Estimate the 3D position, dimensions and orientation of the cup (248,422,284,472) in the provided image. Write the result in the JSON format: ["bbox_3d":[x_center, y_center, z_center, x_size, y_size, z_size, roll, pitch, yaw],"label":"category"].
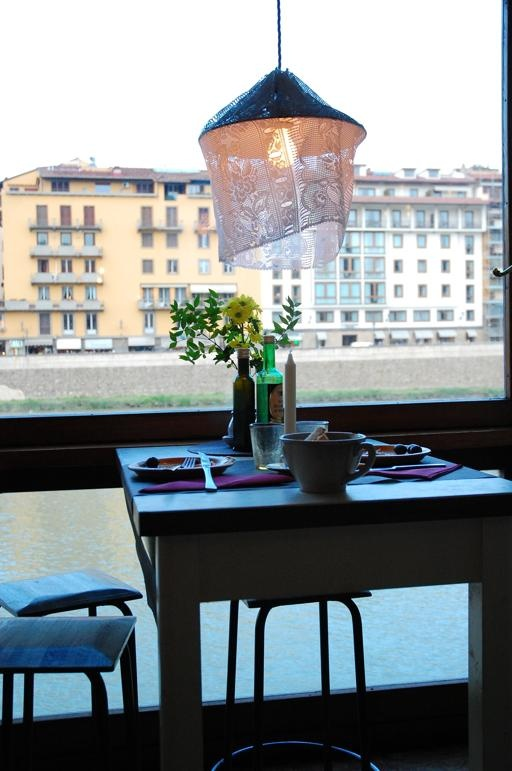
[{"bbox_3d":[0.022,0.119,1.991,0.078,0.089,0.079,0,3,0],"label":"cup"}]

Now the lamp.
[{"bbox_3d":[0.049,-0.439,2.091,0.303,0.399,0.226,-1,3,35],"label":"lamp"}]

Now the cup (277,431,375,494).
[{"bbox_3d":[0.124,0.131,1.731,0.125,0.072,0.104,0,-6,7],"label":"cup"}]

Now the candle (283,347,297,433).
[{"bbox_3d":[0.063,0.014,1.882,0.024,0.148,0.052,-3,2,1],"label":"candle"}]

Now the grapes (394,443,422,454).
[{"bbox_3d":[0.306,0.127,2.045,0.033,0.018,0.026,0,0,-2],"label":"grapes"}]

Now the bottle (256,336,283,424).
[{"bbox_3d":[0.027,-0.015,2.258,0.061,0.188,0.202,-3,3,0],"label":"bottle"}]
